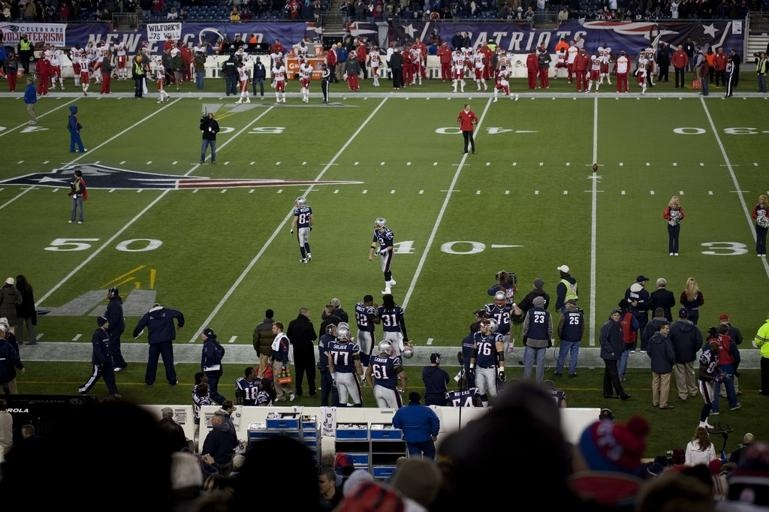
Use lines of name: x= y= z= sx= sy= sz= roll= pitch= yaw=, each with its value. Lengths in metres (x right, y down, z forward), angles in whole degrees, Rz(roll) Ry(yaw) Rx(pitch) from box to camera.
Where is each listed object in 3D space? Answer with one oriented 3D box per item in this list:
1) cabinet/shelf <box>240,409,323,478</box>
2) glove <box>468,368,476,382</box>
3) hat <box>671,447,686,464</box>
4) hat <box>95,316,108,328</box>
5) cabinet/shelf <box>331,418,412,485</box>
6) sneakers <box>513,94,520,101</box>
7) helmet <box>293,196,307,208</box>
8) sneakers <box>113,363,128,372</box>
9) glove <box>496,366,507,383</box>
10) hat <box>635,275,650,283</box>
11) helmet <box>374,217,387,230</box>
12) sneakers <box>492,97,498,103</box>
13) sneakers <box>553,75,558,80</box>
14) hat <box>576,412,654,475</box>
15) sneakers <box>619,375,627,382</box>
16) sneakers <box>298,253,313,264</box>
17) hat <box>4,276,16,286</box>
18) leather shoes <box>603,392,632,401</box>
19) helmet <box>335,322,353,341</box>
cabinet/shelf: x=-2.182 y=4.023 z=27.195 sx=1.503 sy=1.326 sz=0.515 roll=0 pitch=0 yaw=-2
glove: x=1.964 y=2.750 z=29.336 sx=0.189 sy=0.368 sz=0.325 roll=1 pitch=4 yaw=6
hat: x=5.897 y=4.021 z=25.532 sx=0.284 sy=0.307 sz=0.314 roll=-1 pitch=1 yaw=6
hat: x=-6.835 y=1.580 z=30.474 sx=0.234 sy=0.269 sz=0.299 roll=4 pitch=21 yaw=-3
cabinet/shelf: x=-0.354 y=4.180 z=27.038 sx=1.457 sy=1.245 sz=0.748 roll=-1 pitch=-1 yaw=-7
sneakers: x=5.427 y=-6.565 z=53.070 sx=0.234 sy=0.293 sz=0.098 roll=2 pitch=1 yaw=0
helmet: x=-2.528 y=-1.524 z=36.664 sx=0.420 sy=0.400 sz=0.319 roll=6 pitch=6 yaw=2
sneakers: x=-6.577 y=2.815 z=31.763 sx=0.389 sy=0.250 sz=0.129 roll=2 pitch=5 yaw=3
glove: x=2.655 y=2.732 z=29.295 sx=0.189 sy=0.403 sz=0.497 roll=1 pitch=4 yaw=2
hat: x=6.709 y=0.616 z=33.263 sx=0.211 sy=0.153 sz=0.314 roll=13 pitch=34 yaw=39
helmet: x=-0.152 y=-0.875 z=34.609 sx=0.270 sy=0.306 sz=0.320 roll=0 pitch=-32 yaw=0
sneakers: x=4.528 y=-6.446 z=52.759 sx=0.302 sy=0.286 sz=0.173 roll=0 pitch=3 yaw=11
sneakers: x=7.715 y=-8.081 z=57.984 sx=0.136 sy=0.253 sz=0.280 roll=3 pitch=37 yaw=18
hat: x=3.348 y=2.754 z=18.427 sx=1.177 sy=0.778 sz=0.787 roll=8 pitch=-3 yaw=-10
sneakers: x=5.730 y=2.983 z=30.795 sx=0.167 sy=0.203 sz=0.536 roll=-2 pitch=-2 yaw=11
sneakers: x=-2.358 y=0.091 z=37.403 sx=0.193 sy=0.156 sz=0.384 roll=-8 pitch=15 yaw=-27
hat: x=-9.998 y=0.694 z=33.775 sx=0.309 sy=0.131 sz=0.396 roll=10 pitch=-5 yaw=-28
leather shoes: x=5.461 y=3.309 z=30.049 sx=0.703 sy=0.282 sz=0.233 roll=0 pitch=11 yaw=8
helmet: x=-0.959 y=1.787 z=29.055 sx=0.301 sy=0.356 sz=0.377 roll=3 pitch=-24 yaw=-6
